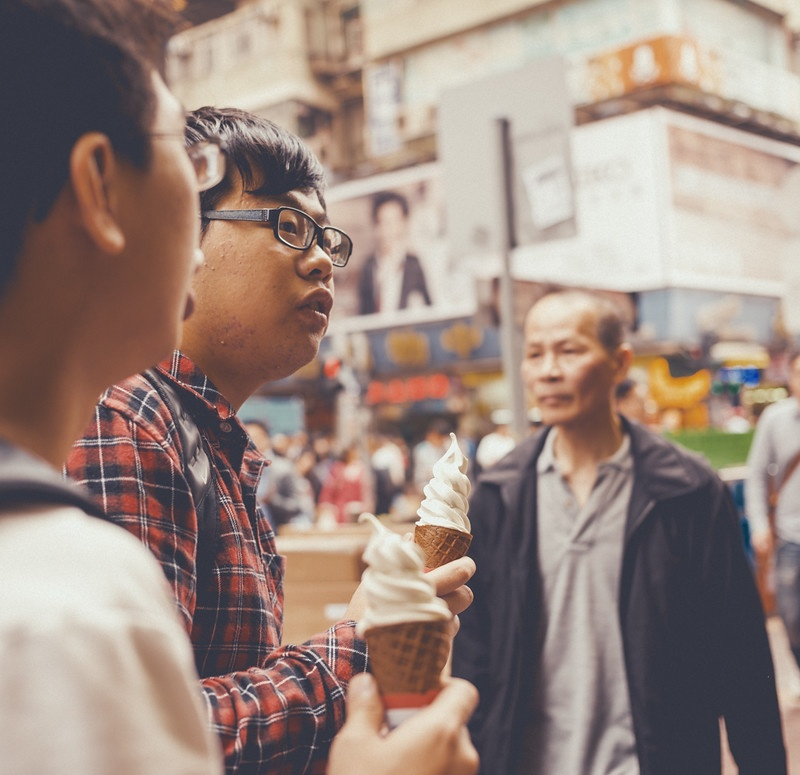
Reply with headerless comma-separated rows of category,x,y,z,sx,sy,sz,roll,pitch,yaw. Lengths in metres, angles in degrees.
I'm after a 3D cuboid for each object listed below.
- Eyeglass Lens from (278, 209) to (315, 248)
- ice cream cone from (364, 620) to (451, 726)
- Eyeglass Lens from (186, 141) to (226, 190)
Eyeglass Lens,-0.204,-0.306,2.411,0.072,0.028,0.073,-1,-12,23
ice cream cone,0.009,0.441,2.060,0.120,0.171,0.152,0,-21,-12
Eyeglass Lens,-0.295,-0.334,1.909,0.059,0.051,0.069,-5,-1,-22
